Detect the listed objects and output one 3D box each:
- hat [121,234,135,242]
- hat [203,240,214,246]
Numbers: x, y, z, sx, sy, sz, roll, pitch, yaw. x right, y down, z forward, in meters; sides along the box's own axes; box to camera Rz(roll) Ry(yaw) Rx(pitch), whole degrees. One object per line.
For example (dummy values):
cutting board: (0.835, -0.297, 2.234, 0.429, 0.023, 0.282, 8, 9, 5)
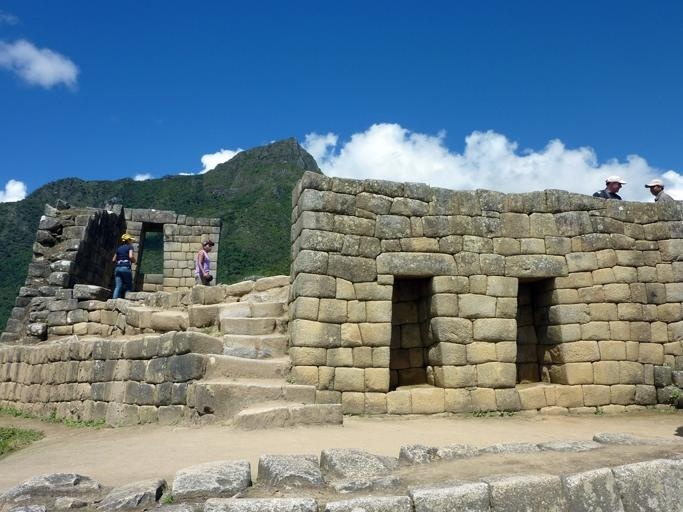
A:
hat: (-6.015, -0.523, 15.835, 0.382, 0.158, 0.512, 0, 1, -5)
hat: (-3.720, -0.372, 15.717, 0.321, 0.146, 0.422, 1, 0, 7)
